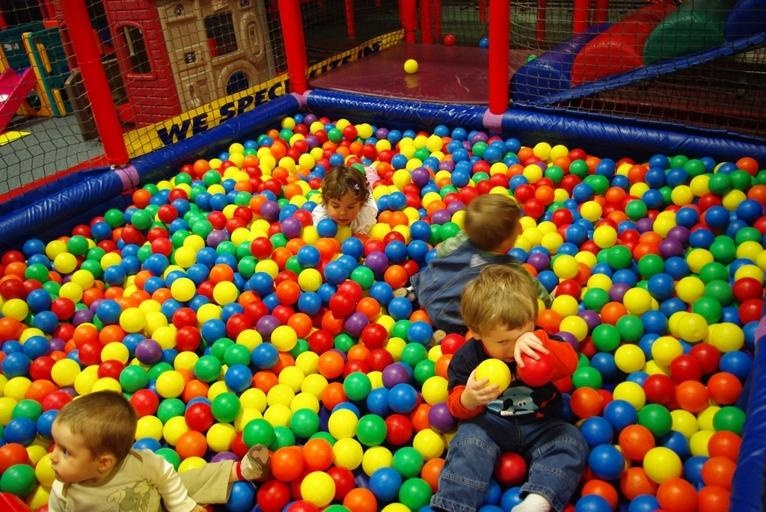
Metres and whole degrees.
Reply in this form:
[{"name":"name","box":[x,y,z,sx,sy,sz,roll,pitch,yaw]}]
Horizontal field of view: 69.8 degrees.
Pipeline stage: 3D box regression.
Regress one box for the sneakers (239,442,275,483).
[{"name":"sneakers","box":[-0.675,1.110,2.941,0.196,0.164,0.091,-11,14,27]}]
